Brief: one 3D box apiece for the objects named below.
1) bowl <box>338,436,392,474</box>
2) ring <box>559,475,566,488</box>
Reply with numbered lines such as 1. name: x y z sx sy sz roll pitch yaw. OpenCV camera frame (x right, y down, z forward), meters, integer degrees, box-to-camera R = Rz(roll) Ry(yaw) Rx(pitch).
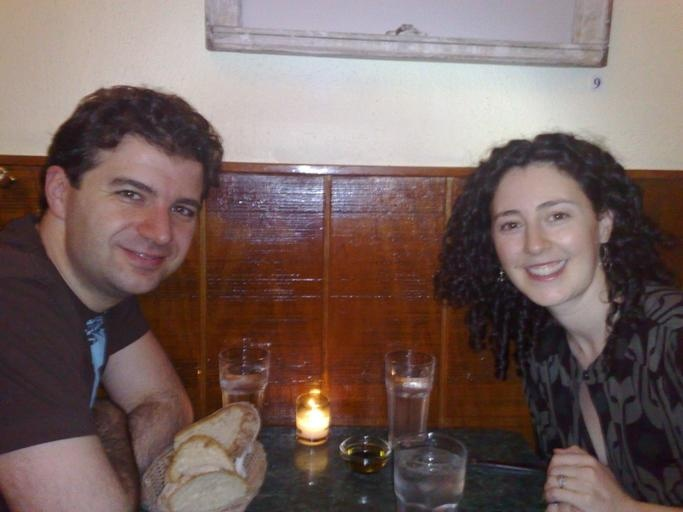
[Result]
1. bowl: 0.064 0.546 1.666 0.130 0.058 0.131 1 9 0
2. ring: 0.524 0.544 1.471 0.022 0.022 0.005 -3 -15 36
